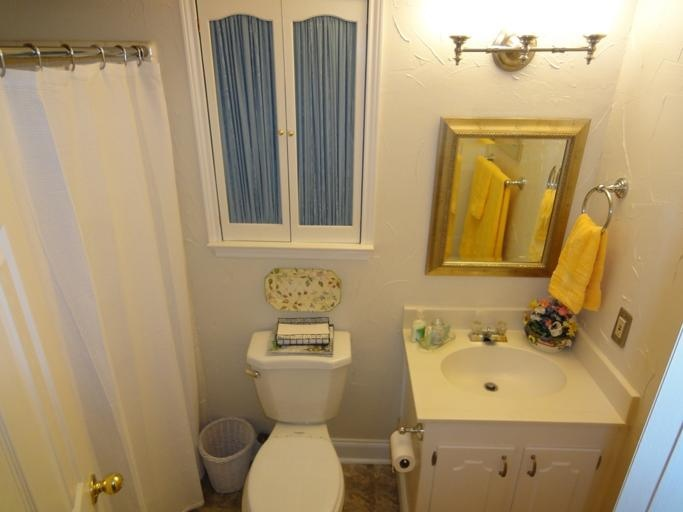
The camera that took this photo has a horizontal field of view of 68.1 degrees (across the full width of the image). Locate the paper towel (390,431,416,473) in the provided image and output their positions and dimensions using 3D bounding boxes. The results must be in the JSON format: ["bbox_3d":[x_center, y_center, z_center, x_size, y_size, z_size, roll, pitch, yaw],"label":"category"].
[{"bbox_3d":[0.278,0.871,2.277,0.109,0.157,0.120,3,21,1],"label":"paper towel"}]

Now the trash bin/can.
[{"bbox_3d":[-0.603,1.070,2.782,0.309,0.315,0.355,-1,24,-9],"label":"trash bin/can"}]

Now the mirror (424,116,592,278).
[{"bbox_3d":[0.765,-0.303,2.298,0.704,0.854,0.064,0,27,2],"label":"mirror"}]

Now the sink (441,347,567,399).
[{"bbox_3d":[0.761,0.544,2.414,0.556,0.162,0.176,6,21,7],"label":"sink"}]

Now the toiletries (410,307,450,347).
[{"bbox_3d":[0.422,0.357,2.554,0.205,0.233,0.143,-6,30,-4],"label":"toiletries"}]

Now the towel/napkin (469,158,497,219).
[{"bbox_3d":[0.620,-0.308,2.313,0.050,0.199,0.148,-6,26,-17],"label":"towel/napkin"}]

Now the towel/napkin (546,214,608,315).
[{"bbox_3d":[1.048,0.031,2.231,0.132,0.460,0.283,0,26,-13],"label":"towel/napkin"}]
